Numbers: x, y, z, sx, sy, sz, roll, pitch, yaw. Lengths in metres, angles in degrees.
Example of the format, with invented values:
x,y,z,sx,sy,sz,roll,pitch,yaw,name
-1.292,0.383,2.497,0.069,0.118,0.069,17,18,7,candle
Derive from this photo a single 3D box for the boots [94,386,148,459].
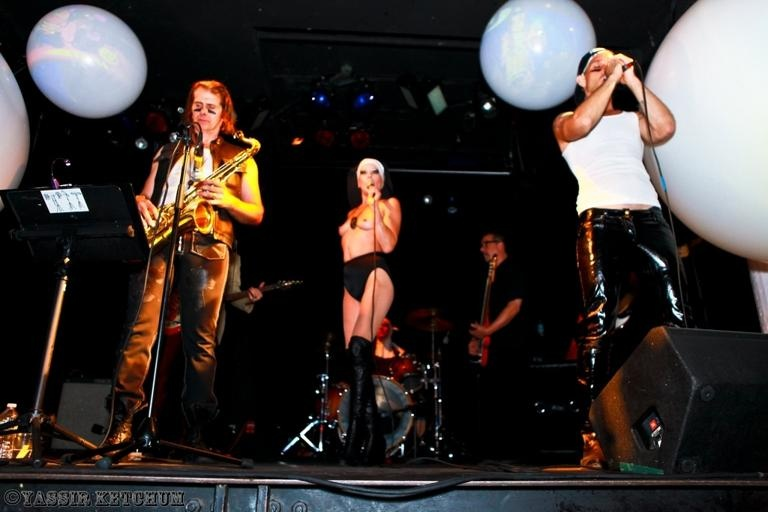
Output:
x,y,z,sx,sy,sz,roll,pitch,yaw,name
-1.547,0.998,3.810,0.170,0.403,0.135,-31,-45,18,boots

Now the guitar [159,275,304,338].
x,y,z,sx,sy,sz,roll,pitch,yaw,name
-1.283,0.454,5.830,1.043,0.107,0.409,-18,-31,-7,guitar

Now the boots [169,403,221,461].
x,y,z,sx,sy,sz,roll,pitch,yaw,name
-1.194,1.092,4.146,0.248,0.343,0.227,10,-3,-33,boots

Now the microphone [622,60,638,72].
x,y,z,sx,sy,sz,roll,pitch,yaw,name
1.564,-1.216,4.095,0.104,0.057,0.146,-5,10,21,microphone

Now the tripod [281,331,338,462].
x,y,z,sx,sy,sz,roll,pitch,yaw,name
-0.545,1.324,5.800,0.400,0.973,0.427,15,2,8,tripod

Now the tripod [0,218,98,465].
x,y,z,sx,sy,sz,roll,pitch,yaw,name
-1.787,0.528,3.378,0.432,1.191,0.653,-3,7,-30,tripod

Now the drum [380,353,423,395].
x,y,z,sx,sy,sz,roll,pitch,yaw,name
0.166,0.967,5.528,0.283,0.371,0.187,42,-23,-27,drum

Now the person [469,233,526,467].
x,y,z,sx,sy,sz,roll,pitch,yaw,name
1.025,0.755,5.707,0.516,1.825,0.952,2,7,12,person

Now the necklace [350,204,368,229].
x,y,z,sx,sy,sz,roll,pitch,yaw,name
-0.190,-0.308,4.814,0.056,0.172,0.127,20,19,-31,necklace
